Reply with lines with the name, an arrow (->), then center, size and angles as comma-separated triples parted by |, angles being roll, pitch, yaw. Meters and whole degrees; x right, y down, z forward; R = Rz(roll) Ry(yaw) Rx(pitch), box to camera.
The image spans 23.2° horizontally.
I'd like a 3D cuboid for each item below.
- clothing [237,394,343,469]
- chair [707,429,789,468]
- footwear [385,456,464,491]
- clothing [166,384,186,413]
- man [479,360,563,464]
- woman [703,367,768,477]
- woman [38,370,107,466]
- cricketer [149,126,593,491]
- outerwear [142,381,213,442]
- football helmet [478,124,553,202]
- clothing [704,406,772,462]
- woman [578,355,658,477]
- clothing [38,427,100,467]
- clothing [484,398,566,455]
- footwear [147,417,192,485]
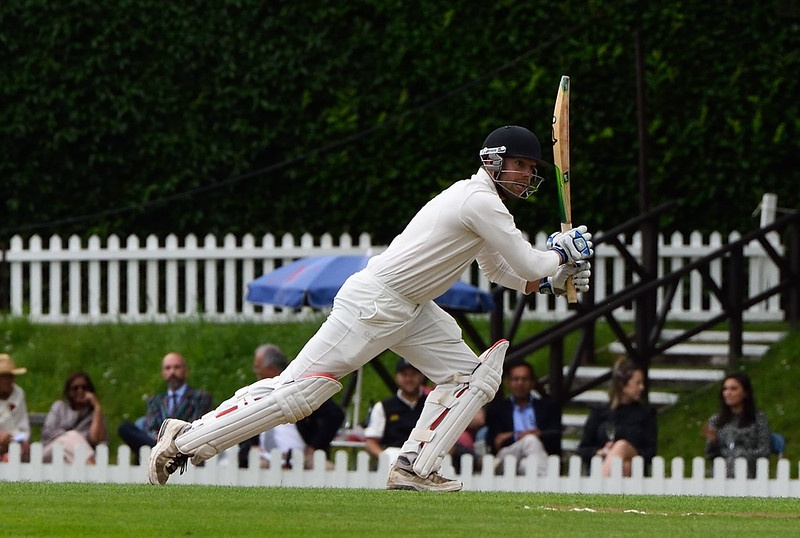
clothing -> -1.041, 1.386, 17.588 | 0.522, 0.616, 0.892 | 19, 20, 32
chair -> 2.912, 1.514, 16.409 | 0.392, 0.425, 0.471 | 0, 0, -41
footwear -> 0.223, 1.605, 15.155 | 0.670, 0.323, 0.226 | 1, -3, -6
clothing -> -2.001, 1.148, 17.261 | 0.167, 0.225, 0.084 | 3, -2, -3
man -> 1.144, 1.396, 17.458 | 0.704, 1.208, 0.684 | -2, -5, -26
woman -> 2.858, 1.484, 16.467 | 0.561, 1.170, 0.597 | -3, -7, 19
woman -> -2.774, 1.343, 16.533 | 0.482, 0.956, 0.980 | 9, -4, -20
cricketer -> -0.222, 0.430, 15.031 | 3.526, 2.693, 1.155 | -3, -3, -5
outerwear -> -2.014, 1.263, 17.256 | 0.487, 0.190, 0.494 | -36, -32, 30
football helmet -> 0.896, -0.816, 15.165 | 0.556, 0.593, 0.498 | -4, -1, 11
clothing -> 2.864, 1.498, 16.506 | 0.612, 0.595, 0.339 | 0, -1, 34
woman -> 1.900, 1.467, 16.838 | 0.671, 1.437, 0.782 | 4, -6, 6
clothing -> -2.806, 1.499, 16.417 | 0.445, 0.282, 0.238 | 4, -9, -10
clothing -> 1.124, 1.493, 17.514 | 0.739, 0.702, 0.406 | -2, 2, 1
footwear -> -1.780, 1.414, 14.871 | 0.305, 0.619, 0.214 | 7, 9, 4
